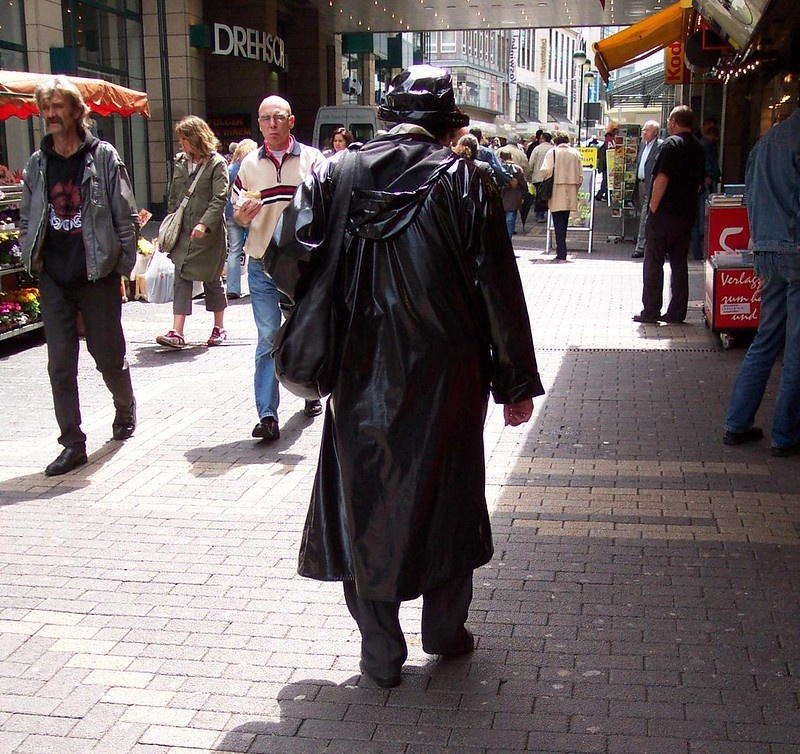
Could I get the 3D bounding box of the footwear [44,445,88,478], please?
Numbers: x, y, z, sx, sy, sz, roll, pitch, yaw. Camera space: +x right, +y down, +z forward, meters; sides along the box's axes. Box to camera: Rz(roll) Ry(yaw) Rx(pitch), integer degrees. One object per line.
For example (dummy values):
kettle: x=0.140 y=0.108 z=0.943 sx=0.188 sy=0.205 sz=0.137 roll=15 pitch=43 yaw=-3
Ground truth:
footwear: x=-2.062 y=0.515 z=5.026 sx=0.093 sy=0.122 sz=0.285 roll=2 pitch=7 yaw=18

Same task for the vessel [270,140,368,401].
vessel: x=-0.255 y=-0.304 z=2.453 sx=0.293 sy=0.723 sz=0.125 roll=-4 pitch=11 yaw=-11

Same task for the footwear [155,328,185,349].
footwear: x=-2.404 y=-0.408 z=8.490 sx=0.134 sy=0.173 sz=0.348 roll=-2 pitch=-12 yaw=21

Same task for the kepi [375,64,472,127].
kepi: x=0.051 y=-0.858 z=2.503 sx=0.192 sy=0.133 sz=0.256 roll=11 pitch=25 yaw=18

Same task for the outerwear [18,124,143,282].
outerwear: x=-2.028 y=-1.057 z=5.075 sx=0.690 sy=0.897 sz=0.435 roll=-5 pitch=12 yaw=-20

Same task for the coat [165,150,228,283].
coat: x=-2.069 y=-1.630 z=8.430 sx=0.550 sy=1.316 sz=0.874 roll=-8 pitch=13 yaw=-32

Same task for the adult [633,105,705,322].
adult: x=3.014 y=-1.839 z=9.272 sx=0.778 sy=2.466 sz=0.543 roll=-11 pitch=14 yaw=-40

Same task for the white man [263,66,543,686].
white man: x=0.011 y=-0.007 z=2.689 sx=0.869 sy=1.869 sz=0.699 roll=-1 pitch=8 yaw=-11

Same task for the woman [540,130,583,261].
woman: x=3.010 y=-3.541 z=15.704 sx=0.845 sy=2.331 sz=0.764 roll=-6 pitch=9 yaw=-24

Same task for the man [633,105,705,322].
man: x=3.018 y=-1.839 z=9.271 sx=0.784 sy=2.466 sz=0.552 roll=-11 pitch=15 yaw=-41

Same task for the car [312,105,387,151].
car: x=-1.233 y=-6.737 z=22.192 sx=2.421 sy=1.343 sz=1.319 roll=-2 pitch=3 yaw=-16

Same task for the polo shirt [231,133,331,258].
polo shirt: x=-0.907 y=-1.251 z=5.593 sx=0.627 sy=0.771 sz=0.294 roll=-16 pitch=45 yaw=-39
